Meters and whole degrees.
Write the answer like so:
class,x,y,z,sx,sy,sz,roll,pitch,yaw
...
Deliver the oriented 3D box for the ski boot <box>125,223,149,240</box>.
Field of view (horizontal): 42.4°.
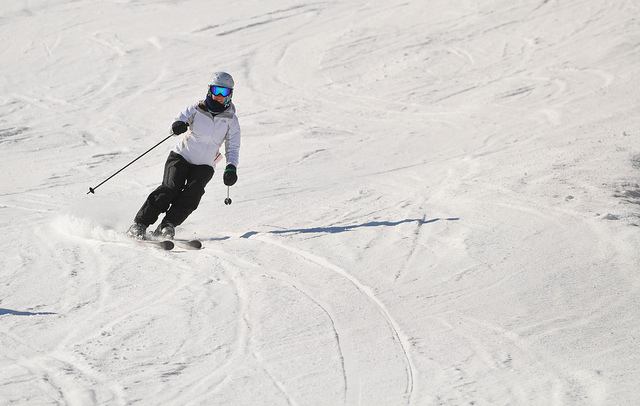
class,x,y,z,sx,sy,sz,roll,pitch,yaw
ski boot,-3.873,0.603,17.372,0.429,0.267,0.388,-14,32,-12
